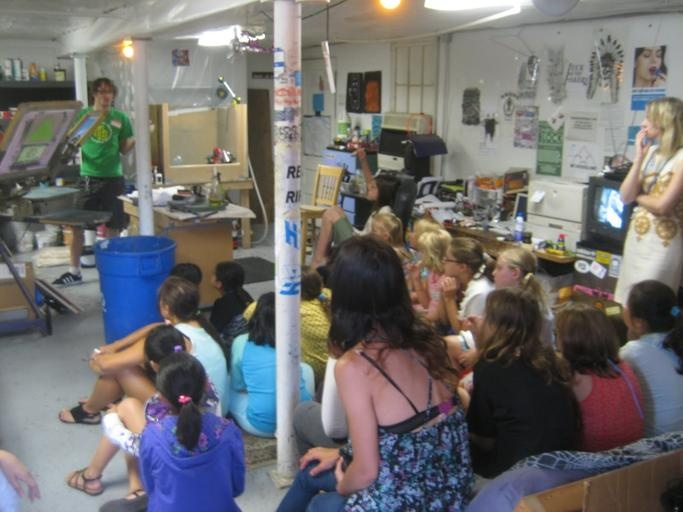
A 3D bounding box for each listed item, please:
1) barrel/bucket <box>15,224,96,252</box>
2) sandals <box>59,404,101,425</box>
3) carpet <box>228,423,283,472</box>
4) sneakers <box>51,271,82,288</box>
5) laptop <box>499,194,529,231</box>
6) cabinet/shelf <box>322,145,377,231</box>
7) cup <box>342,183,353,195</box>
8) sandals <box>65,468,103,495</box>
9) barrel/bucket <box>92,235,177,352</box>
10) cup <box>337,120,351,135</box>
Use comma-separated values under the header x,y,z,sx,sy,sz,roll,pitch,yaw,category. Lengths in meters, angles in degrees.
x,y,z,sx,sy,sz,roll,pitch,yaw,category
-3.690,-0.231,6.901,0.440,0.406,0.296,-4,16,-8,barrel/bucket
-1.725,1.061,3.573,0.244,0.111,0.129,9,1,-3,sandals
-0.478,1.092,3.020,0.353,0.095,0.337,1,12,5,carpet
-3.092,0.276,6.065,0.246,0.118,0.155,-15,25,-35,sneakers
1.810,-0.477,5.658,0.295,0.551,0.556,6,12,17,laptop
0.125,-0.860,6.893,0.410,1.075,1.105,-3,16,-16,cabinet/shelf
0.077,-0.931,7.371,0.151,0.190,0.157,2,16,-1,cup
-1.424,1.258,3.002,0.201,0.089,0.107,19,4,23,sandals
-1.768,0.334,4.475,0.657,0.919,0.585,18,17,35,barrel/bucket
0.048,-1.943,8.122,0.186,0.205,0.193,-2,14,1,cup
